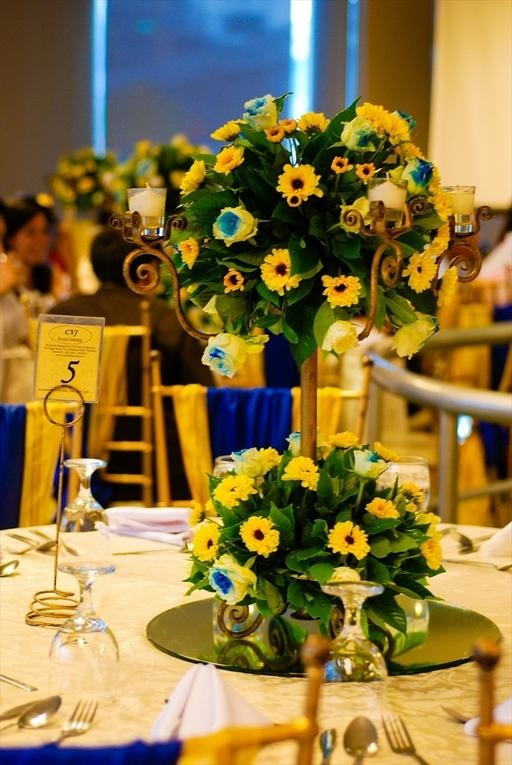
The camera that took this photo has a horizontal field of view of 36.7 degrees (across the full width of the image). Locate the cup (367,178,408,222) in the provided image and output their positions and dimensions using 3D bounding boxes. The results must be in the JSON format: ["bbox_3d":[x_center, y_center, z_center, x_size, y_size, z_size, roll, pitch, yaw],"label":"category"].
[{"bbox_3d":[0.138,-0.198,0.821,0.040,0.056,0.069,1,-2,8],"label":"cup"}]

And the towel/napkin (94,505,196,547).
[{"bbox_3d":[-0.212,0.269,1.483,0.183,0.059,0.145,5,-16,-5],"label":"towel/napkin"}]

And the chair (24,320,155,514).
[{"bbox_3d":[-0.320,0.093,1.309,0.228,0.215,0.380,6,-40,-14],"label":"chair"}]

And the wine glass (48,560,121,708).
[{"bbox_3d":[-0.161,0.237,0.734,0.073,0.140,0.069,0,-3,44],"label":"wine glass"}]
